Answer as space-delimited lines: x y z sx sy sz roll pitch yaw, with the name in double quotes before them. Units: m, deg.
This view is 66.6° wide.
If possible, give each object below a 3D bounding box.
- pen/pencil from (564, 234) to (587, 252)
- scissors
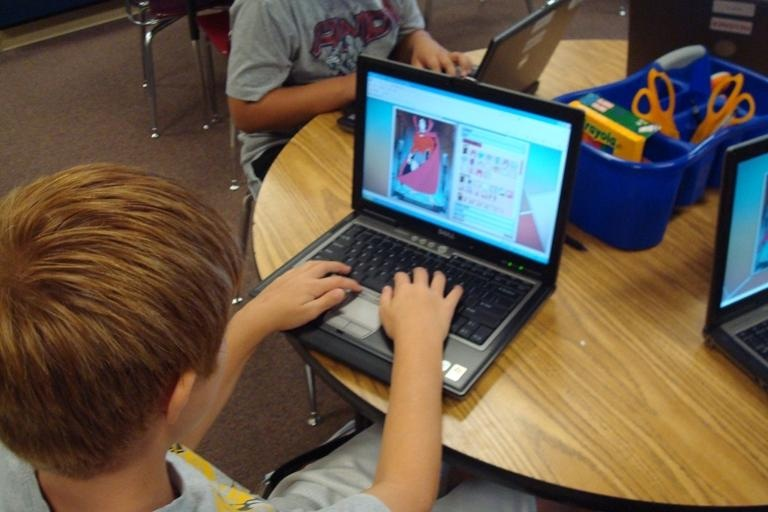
"pen/pencil" 0.420 -0.027 1.292 0.012 0.014 0.054 -41 47 -13
"scissors" 0.697 -0.337 1.327 0.244 0.231 0.104 9 14 15
